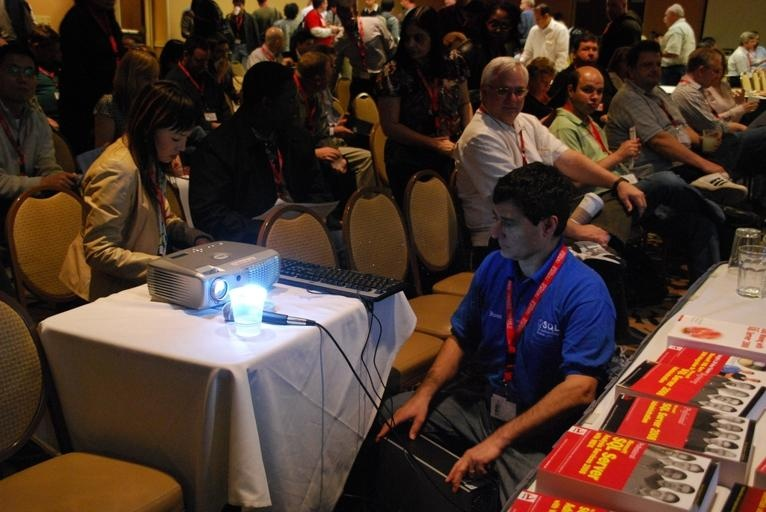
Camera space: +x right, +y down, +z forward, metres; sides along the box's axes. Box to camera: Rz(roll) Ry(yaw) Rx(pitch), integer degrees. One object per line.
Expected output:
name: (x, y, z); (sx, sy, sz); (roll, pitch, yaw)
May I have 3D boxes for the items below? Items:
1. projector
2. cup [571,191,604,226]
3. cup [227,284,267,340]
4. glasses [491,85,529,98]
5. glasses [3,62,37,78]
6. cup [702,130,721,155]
projector: (-0.698, 0.063, 2.349); (0.279, 0.131, 0.373); (14, 20, 30)
cup: (1.365, -0.294, 4.076); (0.150, 0.249, 0.121); (31, -22, 1)
cup: (-0.480, 0.218, 2.254); (0.154, 0.170, 0.154); (-1, 3, 0)
glasses: (0.827, -1.041, 3.853); (0.227, 0.072, 0.078); (-3, 20, -25)
glasses: (-2.396, -1.219, 4.019); (0.076, 0.081, 0.198); (13, 19, 21)
cup: (2.947, -1.000, 5.364); (0.178, 0.224, 0.226); (4, 9, 26)
